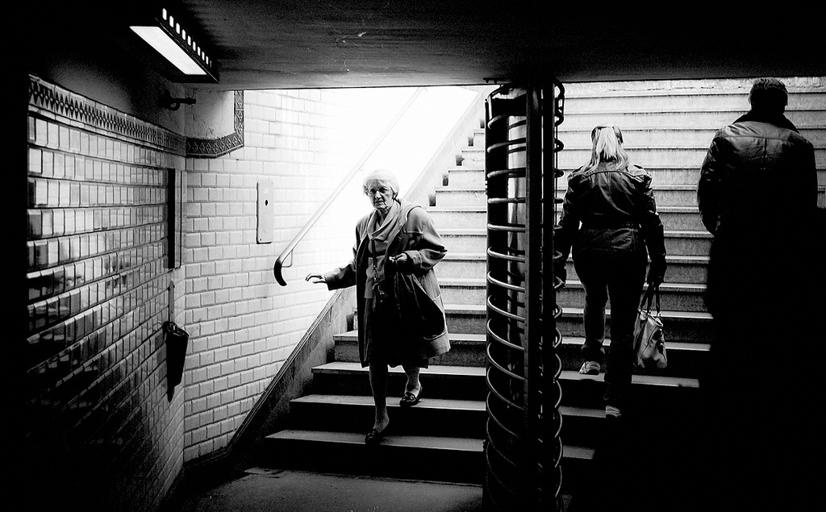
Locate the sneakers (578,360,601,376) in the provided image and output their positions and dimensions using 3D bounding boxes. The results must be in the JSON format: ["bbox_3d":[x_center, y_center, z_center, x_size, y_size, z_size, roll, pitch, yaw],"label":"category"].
[{"bbox_3d":[1.569,1.007,5.826,0.141,0.050,0.145,4,-29,3],"label":"sneakers"}]
